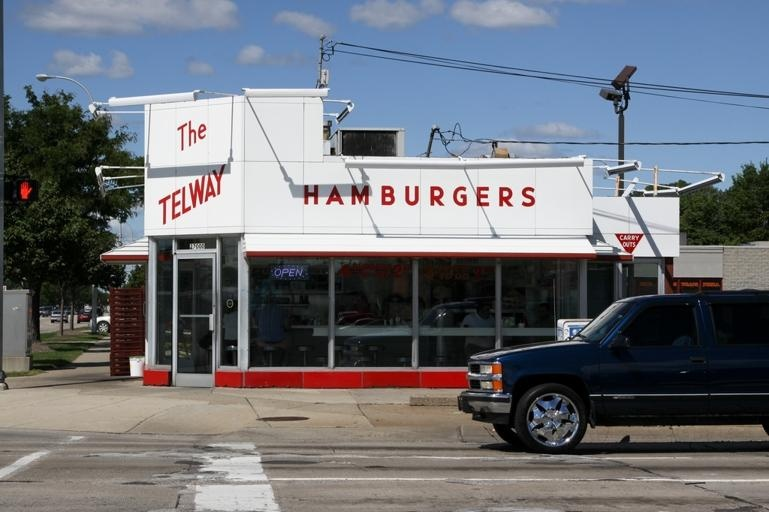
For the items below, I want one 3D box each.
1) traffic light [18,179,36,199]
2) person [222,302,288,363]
[{"bbox_3d":[-9.556,-1.782,30.241,0.605,0.724,0.078,0,-6,-5],"label":"traffic light"},{"bbox_3d":[-3.319,2.011,29.548,1.720,1.438,0.865,0,-5,-3],"label":"person"}]
